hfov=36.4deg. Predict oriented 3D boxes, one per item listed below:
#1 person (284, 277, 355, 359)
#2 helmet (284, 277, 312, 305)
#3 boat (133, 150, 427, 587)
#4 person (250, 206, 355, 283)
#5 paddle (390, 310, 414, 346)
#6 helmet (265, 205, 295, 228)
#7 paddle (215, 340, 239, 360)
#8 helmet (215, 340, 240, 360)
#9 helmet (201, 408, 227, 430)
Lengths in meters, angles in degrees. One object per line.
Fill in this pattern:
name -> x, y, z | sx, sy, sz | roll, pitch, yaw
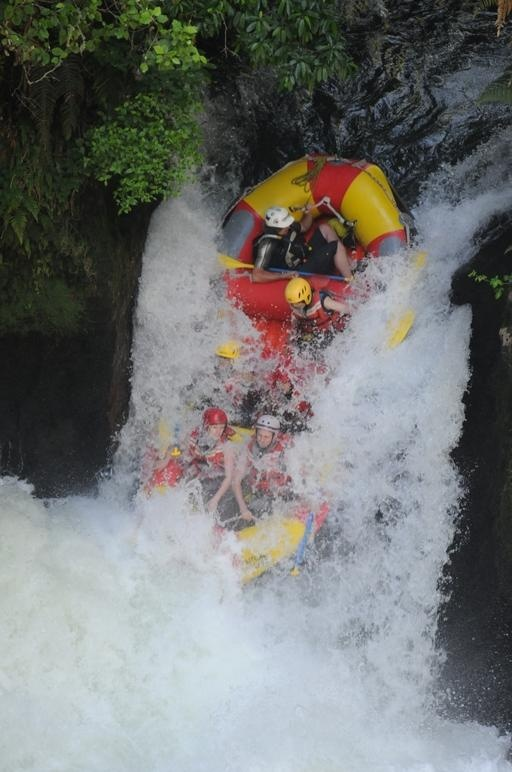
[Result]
person -> 0.726, -0.818, 8.888 | 0.521, 0.852, 0.337 | 41, 81, 10
helmet -> 0.488, -1.023, 8.621 | 0.228, 0.264, 0.329 | 11, 91, 20
boat -> 0.422, -0.398, 9.965 | 2.891, 0.974, 4.994 | 25, 109, 21
person -> 0.604, -1.593, 8.879 | 1.256, 0.761, 0.852 | 2, 52, -7
paddle -> 1.689, -0.658, 8.966 | 0.339, 0.084, 0.341 | 33, 95, 27
helmet -> 0.241, -1.868, 8.658 | 0.281, 0.138, 0.211 | 16, 79, 36
paddle -> -0.326, -0.418, 9.210 | 0.247, 0.192, 0.180 | -28, 48, -24
helmet -> -0.324, -0.414, 9.213 | 0.250, 0.192, 0.180 | -27, 46, -27
helmet -> -0.475, 0.371, 9.027 | 0.185, 0.205, 0.262 | -2, 24, -15
